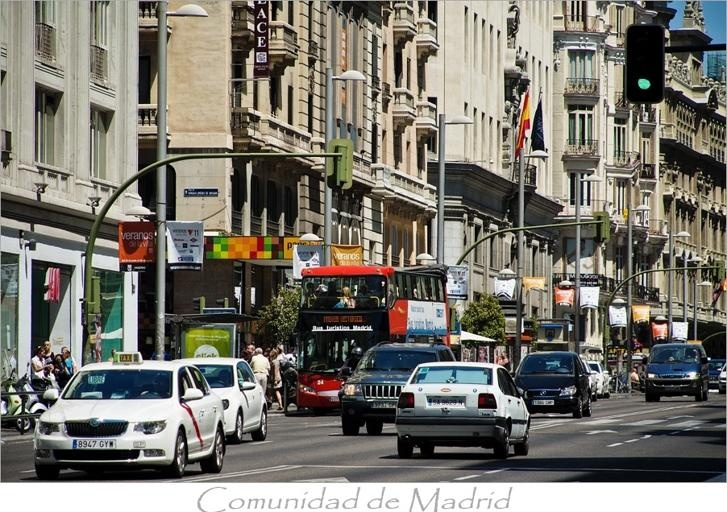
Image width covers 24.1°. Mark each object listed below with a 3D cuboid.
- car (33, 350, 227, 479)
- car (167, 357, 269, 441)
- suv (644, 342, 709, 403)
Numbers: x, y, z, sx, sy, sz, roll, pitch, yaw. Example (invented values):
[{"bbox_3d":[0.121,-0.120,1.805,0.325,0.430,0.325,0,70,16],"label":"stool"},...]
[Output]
[{"bbox_3d":[-4.963,3.379,36.250,3.986,2.750,2.242,2,-8,-19],"label":"car"},{"bbox_3d":[-3.383,3.738,44.698,1.542,1.287,2.833,-2,-8,11],"label":"car"},{"bbox_3d":[13.626,5.136,74.992,2.966,2.742,2.400,1,-8,-14],"label":"suv"}]
